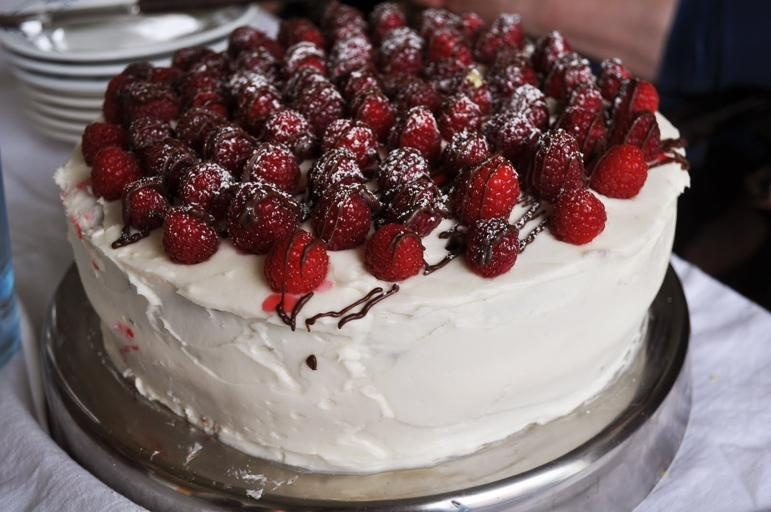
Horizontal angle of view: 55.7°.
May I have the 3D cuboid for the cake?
[{"bbox_3d":[0.007,0.107,2.336,1.582,0.647,1.635,1,31,4],"label":"cake"}]
